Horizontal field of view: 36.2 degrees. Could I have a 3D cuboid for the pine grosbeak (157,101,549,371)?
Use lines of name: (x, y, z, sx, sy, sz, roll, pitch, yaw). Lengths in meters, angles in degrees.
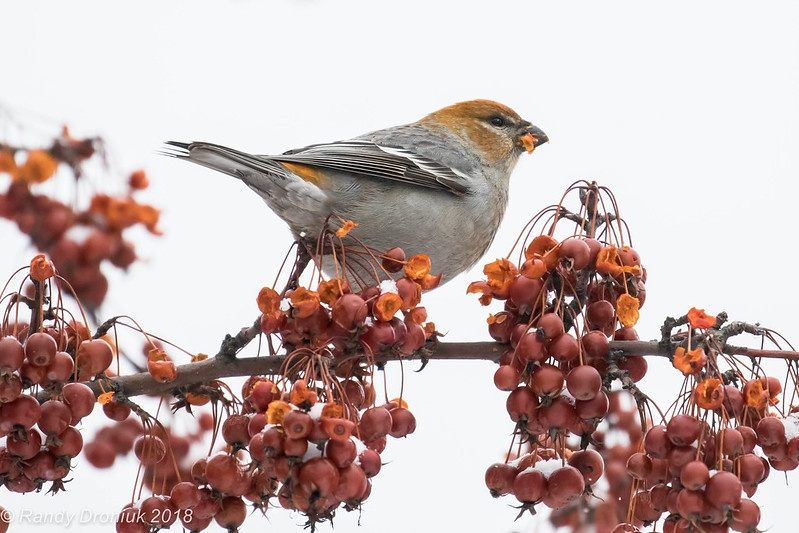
pine grosbeak: (-0.241, -0.509, 7.055, 2.275, 1.342, 0.747, 14, -14, -23)
